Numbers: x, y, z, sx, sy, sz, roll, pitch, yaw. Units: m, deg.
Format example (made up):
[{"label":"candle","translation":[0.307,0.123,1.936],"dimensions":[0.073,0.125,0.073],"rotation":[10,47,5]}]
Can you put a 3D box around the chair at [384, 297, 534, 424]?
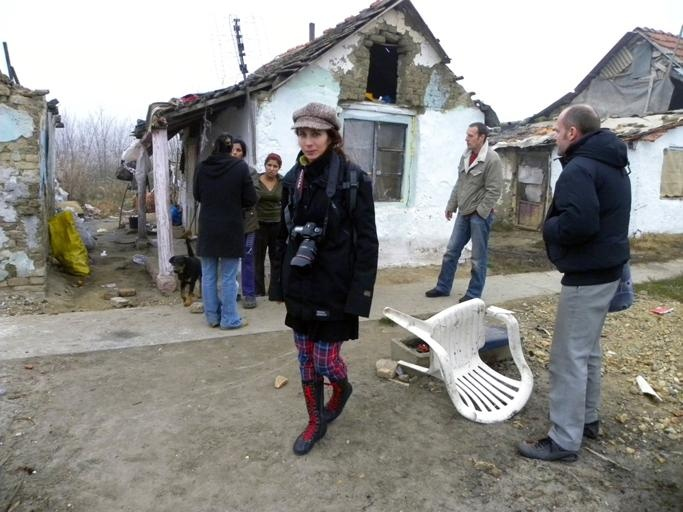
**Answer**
[{"label":"chair","translation":[0.987,0.898,3.873],"dimensions":[0.936,0.675,1.170],"rotation":[-12,17,-27]}]

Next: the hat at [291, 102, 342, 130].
[{"label":"hat","translation":[-0.173,-0.973,3.079],"dimensions":[0.323,0.204,0.220],"rotation":[-1,10,-1]}]

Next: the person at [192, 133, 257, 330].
[{"label":"person","translation":[-1.331,-0.142,5.160],"dimensions":[0.727,2.059,0.371],"rotation":[-1,10,-3]}]

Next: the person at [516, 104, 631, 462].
[{"label":"person","translation":[1.671,0.179,3.158],"dimensions":[0.782,2.521,0.493],"rotation":[-11,14,-43]}]

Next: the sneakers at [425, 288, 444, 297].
[{"label":"sneakers","translation":[1.424,0.565,6.753],"dimensions":[0.325,0.141,0.119],"rotation":[-3,5,-11]}]

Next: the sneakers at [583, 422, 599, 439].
[{"label":"sneakers","translation":[1.908,1.340,3.369],"dimensions":[0.127,0.131,0.047],"rotation":[-5,-5,-2]}]

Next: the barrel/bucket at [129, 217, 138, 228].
[{"label":"barrel/bucket","translation":[-6.569,-1.048,14.073],"dimensions":[0.185,0.395,0.249],"rotation":[-7,12,-31]}]

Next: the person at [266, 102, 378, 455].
[{"label":"person","translation":[-0.106,0.170,3.187],"dimensions":[0.712,2.466,0.581],"rotation":[-2,11,-8]}]

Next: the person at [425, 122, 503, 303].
[{"label":"person","translation":[1.809,-0.611,6.310],"dimensions":[0.904,2.557,1.171],"rotation":[0,10,3]}]

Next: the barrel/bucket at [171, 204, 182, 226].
[{"label":"barrel/bucket","translation":[-5.229,-1.290,14.209],"dimensions":[0.255,0.598,0.695],"rotation":[-4,10,-18]}]
